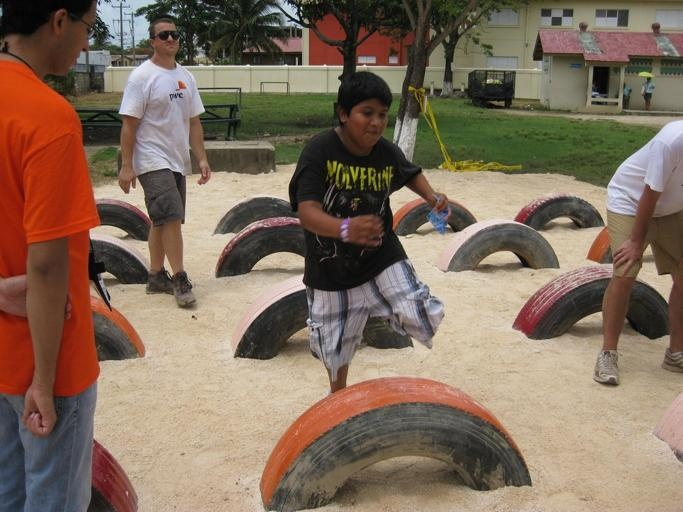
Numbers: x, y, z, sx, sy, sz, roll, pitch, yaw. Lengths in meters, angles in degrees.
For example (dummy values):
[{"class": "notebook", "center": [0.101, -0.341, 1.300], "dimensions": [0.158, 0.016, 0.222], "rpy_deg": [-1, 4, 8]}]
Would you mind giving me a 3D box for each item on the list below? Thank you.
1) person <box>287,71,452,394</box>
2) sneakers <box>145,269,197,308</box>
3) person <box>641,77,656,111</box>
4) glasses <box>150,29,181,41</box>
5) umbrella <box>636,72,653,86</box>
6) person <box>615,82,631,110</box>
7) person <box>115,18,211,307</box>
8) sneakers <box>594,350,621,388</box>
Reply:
[{"class": "person", "center": [0.132, -0.032, 3.956], "dimensions": [0.828, 1.806, 0.832], "rpy_deg": [0, 17, -8]}, {"class": "sneakers", "center": [-1.483, 0.237, 6.400], "dimensions": [0.654, 0.318, 0.219], "rpy_deg": [12, 16, 42]}, {"class": "person", "center": [13.488, -7.091, 32.539], "dimensions": [0.474, 1.391, 1.533], "rpy_deg": [9, 19, 21]}, {"class": "glasses", "center": [-1.462, -1.821, 6.108], "dimensions": [0.221, 0.087, 0.142], "rpy_deg": [-4, 20, -19]}, {"class": "umbrella", "center": [13.401, -7.862, 32.664], "dimensions": [0.577, 0.559, 0.583], "rpy_deg": [-4, 8, -36]}, {"class": "person", "center": [12.663, -7.113, 32.980], "dimensions": [0.487, 1.119, 1.337], "rpy_deg": [9, 19, 21]}, {"class": "person", "center": [-1.486, -0.769, 6.266], "dimensions": [0.658, 2.341, 0.882], "rpy_deg": [8, 18, 20]}, {"class": "sneakers", "center": [1.786, 0.758, 4.956], "dimensions": [0.101, 0.142, 0.303], "rpy_deg": [0, 2, 9]}]
